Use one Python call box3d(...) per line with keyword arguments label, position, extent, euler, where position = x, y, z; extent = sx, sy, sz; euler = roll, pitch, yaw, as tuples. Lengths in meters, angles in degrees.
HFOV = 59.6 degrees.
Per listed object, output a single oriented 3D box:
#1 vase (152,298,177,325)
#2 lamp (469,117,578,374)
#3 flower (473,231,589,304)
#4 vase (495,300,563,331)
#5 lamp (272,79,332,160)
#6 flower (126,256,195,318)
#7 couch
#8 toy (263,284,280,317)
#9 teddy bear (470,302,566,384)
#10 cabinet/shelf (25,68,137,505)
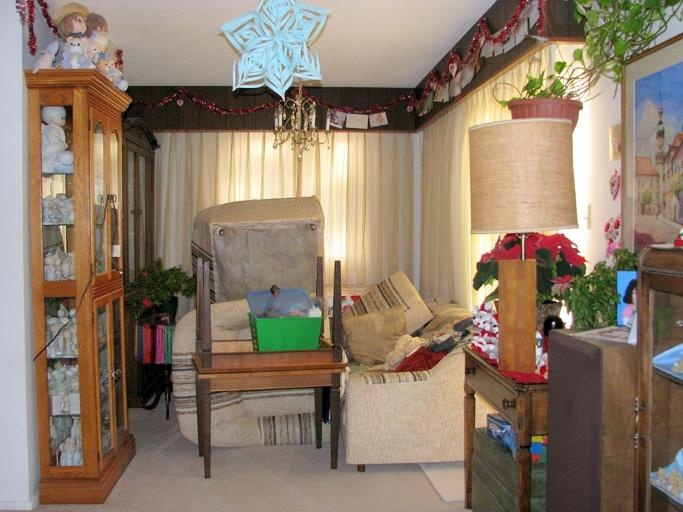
box3d(label="vase", position=(-1.537, 0.496, 5.241), extent=(0.210, 0.241, 0.219), euler=(0, 5, 14))
box3d(label="lamp", position=(0.852, -0.046, 2.833), extent=(0.501, 1.194, 0.247), euler=(2, 7, 12))
box3d(label="flower", position=(1.017, 0.038, 3.276), extent=(0.615, 0.365, 0.598), euler=(-5, 5, -12))
box3d(label="vase", position=(1.004, 0.278, 3.093), extent=(0.195, 0.165, 0.217), euler=(0, -4, -2))
box3d(label="lamp", position=(-0.383, -1.347, 5.512), extent=(0.456, 0.937, 0.509), euler=(0, 0, 39))
box3d(label="flower", position=(-1.578, 0.320, 5.359), extent=(0.720, 0.518, 0.607), euler=(5, 5, -18))
box3d(label="couch", position=(0.231, 0.748, 4.329), extent=(0.478, 1.446, 1.483), euler=(7, -6, -38))
box3d(label="toy", position=(-0.424, 0.272, 3.655), extent=(0.094, 0.188, 0.061), euler=(2, 7, 15))
box3d(label="teddy bear", position=(0.880, 0.413, 3.027), extent=(0.337, 0.292, 0.388), euler=(-8, 12, -5))
box3d(label="cabinet/shelf", position=(-1.637, 0.174, 3.702), extent=(0.510, 2.553, 0.686), euler=(-1, 7, -12))
